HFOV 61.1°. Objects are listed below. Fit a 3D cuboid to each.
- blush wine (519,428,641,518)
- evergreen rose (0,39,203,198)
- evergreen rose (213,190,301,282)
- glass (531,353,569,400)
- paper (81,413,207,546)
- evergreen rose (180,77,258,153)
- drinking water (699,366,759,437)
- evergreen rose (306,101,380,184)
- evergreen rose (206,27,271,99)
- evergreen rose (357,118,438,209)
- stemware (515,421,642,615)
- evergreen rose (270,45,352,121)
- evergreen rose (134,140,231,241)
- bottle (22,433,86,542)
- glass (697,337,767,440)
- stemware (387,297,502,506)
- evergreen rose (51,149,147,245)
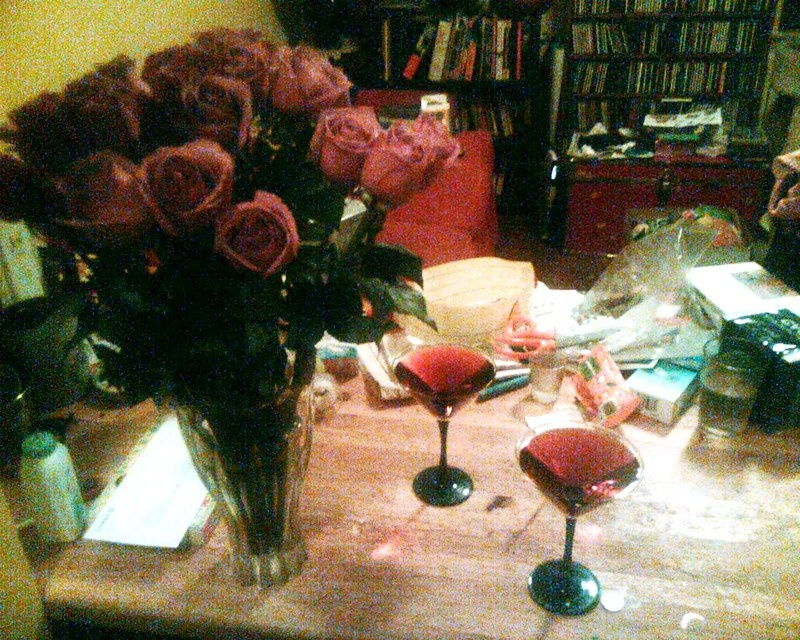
[{"bbox_3d":[0.278,0.235,1.048,0.184,0.060,0.161,-8,30,-16],"label":"blush wine"},{"bbox_3d":[-0.369,-0.242,0.868,0.221,0.085,0.149,-16,48,-5],"label":"evergreen rose"},{"bbox_3d":[-0.189,-0.107,0.856,0.085,0.043,0.096,-8,-13,14],"label":"evergreen rose"},{"bbox_3d":[0.305,0.123,1.420,0.078,0.092,0.080,-10,22,-26],"label":"glass"},{"bbox_3d":[-0.428,0.314,1.226,0.201,0.058,0.205,5,29,6],"label":"paper"},{"bbox_3d":[-0.227,-0.261,0.845,0.071,0.098,0.031,4,17,3],"label":"evergreen rose"},{"bbox_3d":[0.621,0.152,1.284,0.082,0.091,0.079,25,47,35],"label":"drinking water"},{"bbox_3d":[-0.057,-0.225,0.872,0.100,0.068,0.097,-26,53,-31],"label":"evergreen rose"},{"bbox_3d":[-0.199,-0.327,0.850,0.068,0.093,0.043,-5,-1,3],"label":"evergreen rose"},{"bbox_3d":[0.001,-0.202,0.867,0.094,0.098,0.074,-11,49,-28],"label":"evergreen rose"},{"bbox_3d":[0.211,0.311,1.105,0.218,0.274,0.241,0,34,2],"label":"stemware"},{"bbox_3d":[-0.119,-0.306,0.872,0.111,0.072,0.062,-2,7,-19],"label":"evergreen rose"},{"bbox_3d":[-0.253,-0.154,0.820,0.103,0.110,0.059,-2,27,-6],"label":"evergreen rose"},{"bbox_3d":[-0.590,0.265,1.149,0.090,0.225,0.085,1,23,0],"label":"bottle"},{"bbox_3d":[0.632,0.137,1.285,0.077,0.110,0.150,12,50,24],"label":"glass"},{"bbox_3d":[0.077,0.203,1.221,0.171,0.214,0.183,-5,11,-18],"label":"stemware"},{"bbox_3d":[-0.355,-0.143,0.813,0.115,0.107,0.039,2,27,1],"label":"evergreen rose"}]
